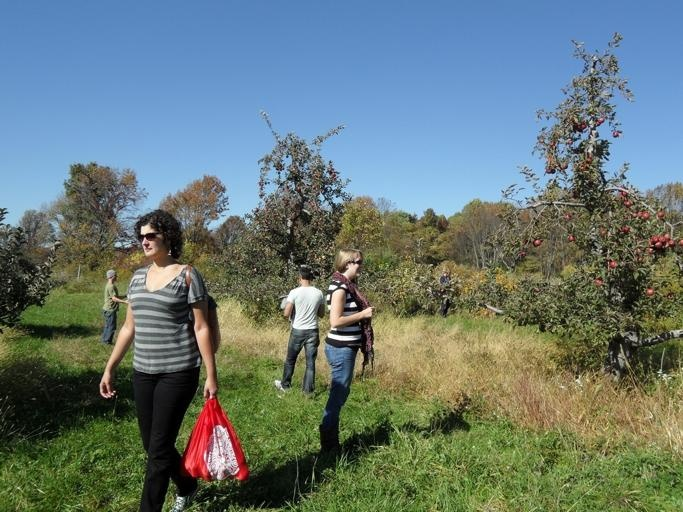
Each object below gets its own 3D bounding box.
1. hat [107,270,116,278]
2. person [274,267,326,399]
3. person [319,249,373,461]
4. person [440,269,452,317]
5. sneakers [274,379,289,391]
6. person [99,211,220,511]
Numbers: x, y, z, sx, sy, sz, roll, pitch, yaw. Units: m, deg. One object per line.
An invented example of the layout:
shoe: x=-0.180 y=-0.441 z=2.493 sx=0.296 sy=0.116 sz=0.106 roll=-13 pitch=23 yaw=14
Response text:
hat: x=-5.627 y=0.429 z=12.214 sx=0.216 sy=0.124 sz=0.219 roll=-10 pitch=0 yaw=-11
person: x=-0.652 y=1.219 z=8.462 sx=0.741 sy=2.094 sz=0.897 roll=-7 pitch=8 yaw=-43
person: x=0.035 y=1.156 z=6.251 sx=0.696 sy=2.454 sz=0.458 roll=-2 pitch=6 yaw=-4
person: x=3.492 y=1.236 z=16.935 sx=0.312 sy=1.535 sz=0.737 roll=-1 pitch=6 yaw=8
sneakers: x=-1.038 y=2.223 z=8.616 sx=0.112 sy=0.152 sz=0.304 roll=-5 pitch=21 yaw=-38
person: x=-1.836 y=1.099 z=5.197 sx=0.994 sy=3.135 sz=0.796 roll=-4 pitch=7 yaw=-23
